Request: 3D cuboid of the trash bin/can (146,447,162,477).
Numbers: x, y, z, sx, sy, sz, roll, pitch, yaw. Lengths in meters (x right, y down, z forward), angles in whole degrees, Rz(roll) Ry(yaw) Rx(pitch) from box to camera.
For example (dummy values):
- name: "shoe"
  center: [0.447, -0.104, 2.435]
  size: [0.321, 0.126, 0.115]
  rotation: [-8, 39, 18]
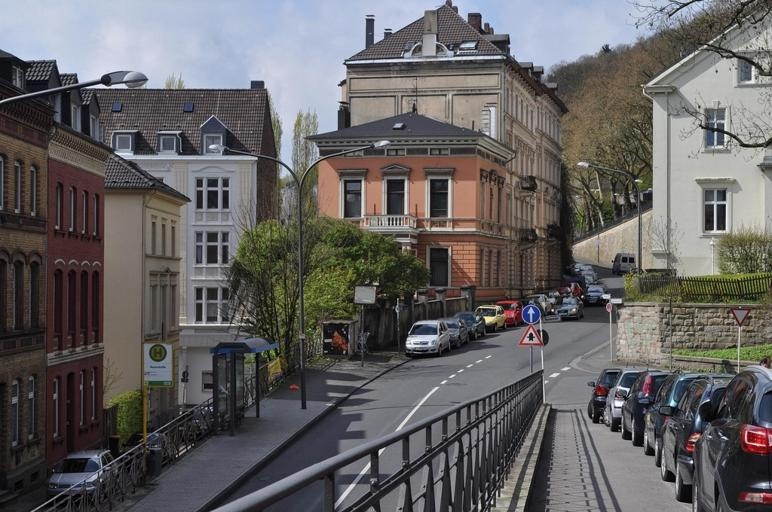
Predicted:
- name: "trash bin/can"
  center: [-8.261, 7.279, 36.092]
  size: [0.523, 0.971, 0.494]
  rotation: [-1, -5, -16]

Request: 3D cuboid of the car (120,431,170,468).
- name: "car"
  center: [-8.821, 6.955, 36.861]
  size: [1.162, 1.167, 2.198]
  rotation: [-9, -5, 30]

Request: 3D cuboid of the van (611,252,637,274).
- name: "van"
  center: [25.417, 0.793, 108.231]
  size: [2.126, 2.565, 4.079]
  rotation: [0, 0, 9]
